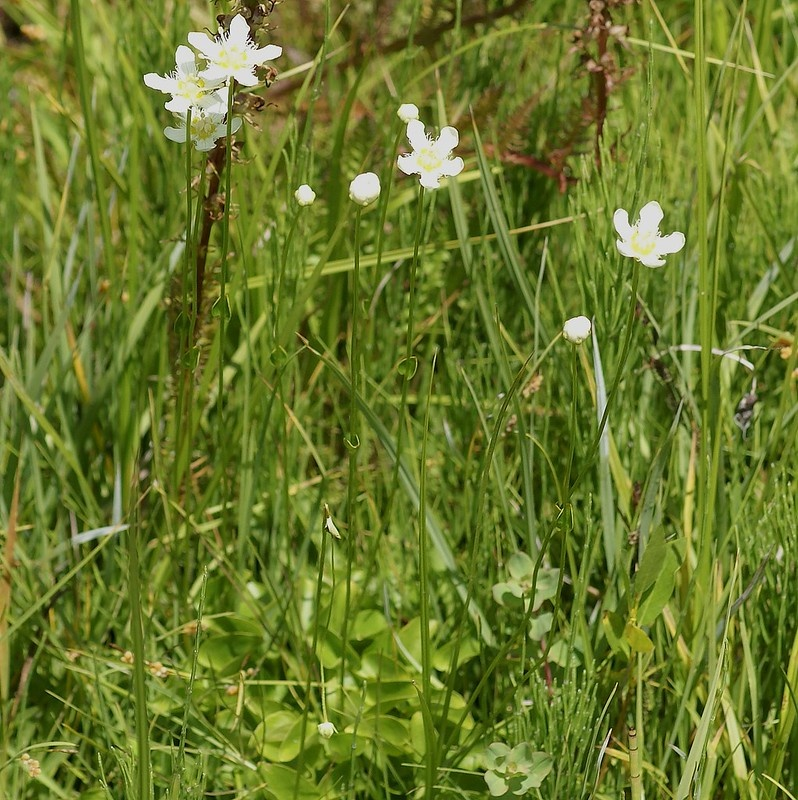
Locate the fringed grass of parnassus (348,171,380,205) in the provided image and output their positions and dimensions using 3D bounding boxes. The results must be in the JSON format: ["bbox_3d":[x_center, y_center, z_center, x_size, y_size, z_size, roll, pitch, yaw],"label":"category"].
[{"bbox_3d":[-0.036,-0.261,1.340,0.026,0.046,0.014,14,10,-9],"label":"fringed grass of parnassus"}]

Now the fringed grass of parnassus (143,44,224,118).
[{"bbox_3d":[-0.275,-0.429,1.498,0.062,0.073,0.031,-4,61,-36],"label":"fringed grass of parnassus"}]
